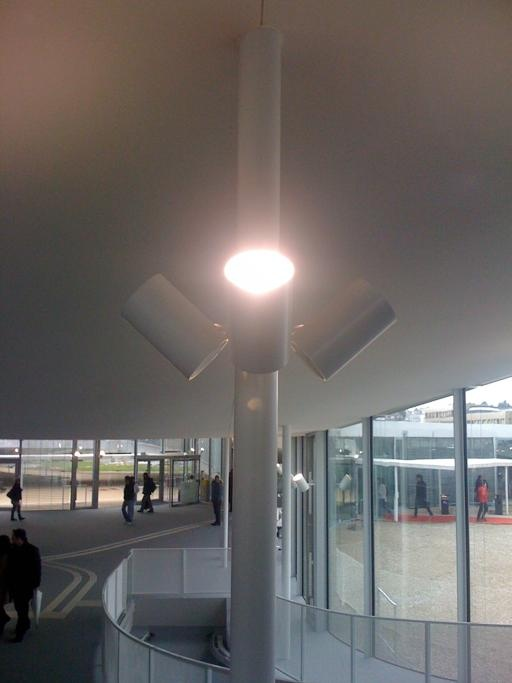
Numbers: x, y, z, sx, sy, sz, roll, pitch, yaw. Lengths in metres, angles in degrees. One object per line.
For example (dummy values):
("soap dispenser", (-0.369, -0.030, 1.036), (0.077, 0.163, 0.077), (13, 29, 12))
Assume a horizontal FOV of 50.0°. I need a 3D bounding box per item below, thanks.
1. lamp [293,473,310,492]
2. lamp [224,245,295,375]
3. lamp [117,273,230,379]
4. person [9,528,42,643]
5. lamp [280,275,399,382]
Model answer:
("lamp", (0.856, 2.819, 10.872), (0.272, 0.313, 0.793), (-2, -9, 3))
("lamp", (0.007, -0.118, 1.987), (0.234, 0.369, 0.280), (-1, -8, -3))
("lamp", (-0.365, -0.063, 2.512), (0.468, 0.453, 0.185), (0, -7, -14))
("person", (-3.295, 3.439, 7.820), (0.424, 1.485, 0.544), (2, -8, -24))
("lamp", (0.392, -0.062, 2.599), (0.518, 0.366, 0.152), (-39, 2, -1))
